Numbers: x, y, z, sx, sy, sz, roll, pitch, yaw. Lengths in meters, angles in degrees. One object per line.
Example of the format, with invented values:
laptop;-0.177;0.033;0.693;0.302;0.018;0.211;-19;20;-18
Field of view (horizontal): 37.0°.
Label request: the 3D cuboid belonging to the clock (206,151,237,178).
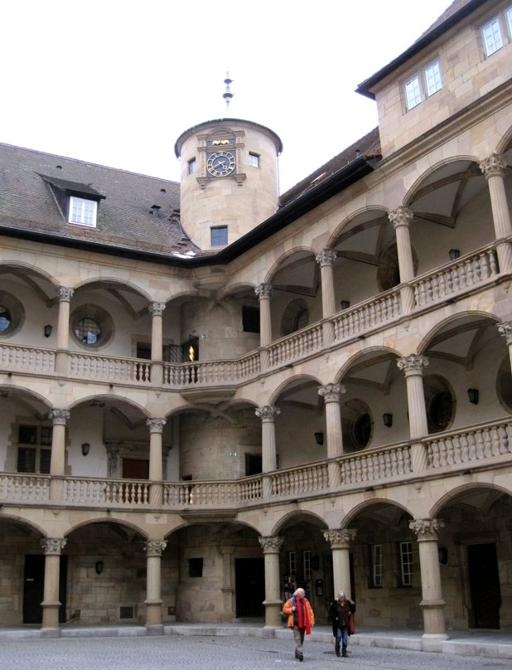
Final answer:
clock;-1.267;-6.433;29.023;1.477;1.434;0.078;-1;-30;5
